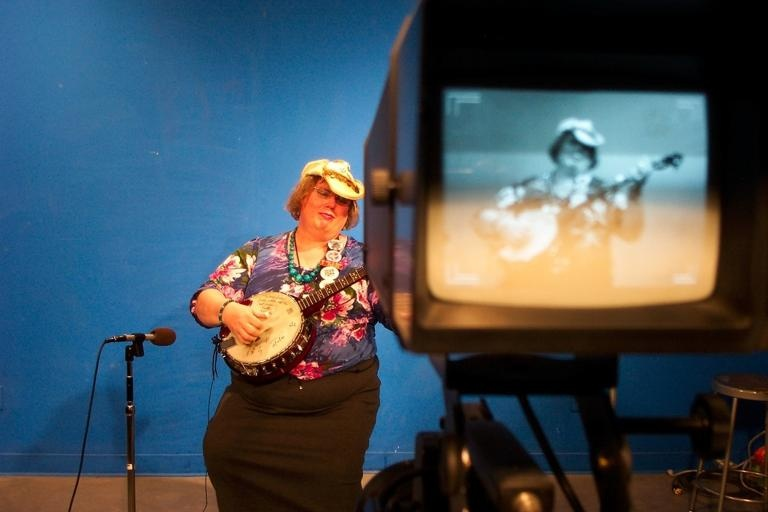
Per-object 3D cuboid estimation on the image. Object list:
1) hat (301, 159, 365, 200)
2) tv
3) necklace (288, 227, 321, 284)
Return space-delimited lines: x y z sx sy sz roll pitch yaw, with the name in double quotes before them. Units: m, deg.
"hat" -0.255 -0.396 3.790 0.216 0.125 0.289 27 -1 -41
"tv" 0.595 -0.194 2.527 1.199 0.764 0.622 2 1 0
"necklace" -0.434 -0.001 3.720 0.140 0.240 0.053 0 -12 -2
